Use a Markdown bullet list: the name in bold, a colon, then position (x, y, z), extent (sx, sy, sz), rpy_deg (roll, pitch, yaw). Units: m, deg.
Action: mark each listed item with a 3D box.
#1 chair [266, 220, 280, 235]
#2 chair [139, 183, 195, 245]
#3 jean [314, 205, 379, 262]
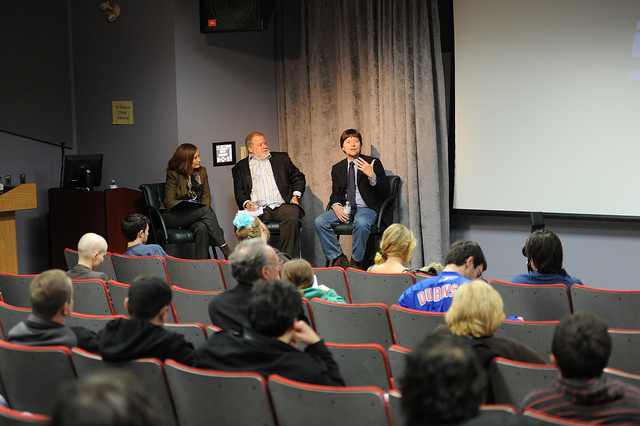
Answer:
- **chair**: position (-0.645, 0.213, 6.344), extent (0.163, 0.183, 0.167), rpy_deg (0, -1, 0)
- **chair**: position (-2.025, 0.004, 6.215), extent (0.682, 0.741, 0.543), rpy_deg (10, 10, 24)
- **jean**: position (0.372, 0.331, 6.385), extent (0.619, 0.962, 0.778), rpy_deg (2, -19, 15)
